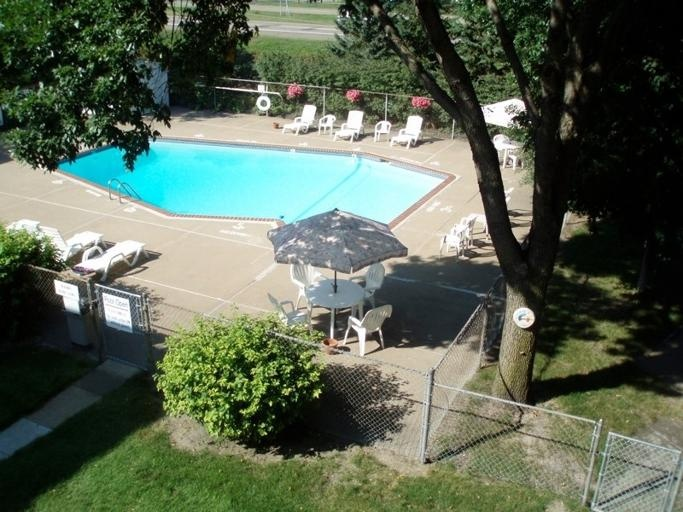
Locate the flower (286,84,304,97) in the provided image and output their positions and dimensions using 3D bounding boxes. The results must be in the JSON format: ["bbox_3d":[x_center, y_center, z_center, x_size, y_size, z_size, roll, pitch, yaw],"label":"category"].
[{"bbox_3d":[-2.437,-8.725,28.352,0.703,0.509,0.725,14,27,36],"label":"flower"}]

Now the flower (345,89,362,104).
[{"bbox_3d":[0.635,-8.174,27.498,0.698,0.608,0.733,-15,32,-11],"label":"flower"}]

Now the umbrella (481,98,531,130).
[{"bbox_3d":[5.171,-4.441,17.123,1.192,0.876,5.790,7,22,15],"label":"umbrella"}]

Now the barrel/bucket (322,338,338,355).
[{"bbox_3d":[-0.225,1.754,10.308,0.294,0.261,0.282,-1,35,1],"label":"barrel/bucket"}]

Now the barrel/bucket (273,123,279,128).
[{"bbox_3d":[-3.440,-6.859,28.105,0.270,0.229,0.288,-4,30,2],"label":"barrel/bucket"}]

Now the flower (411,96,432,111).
[{"bbox_3d":[3.865,-7.389,26.022,0.692,0.504,0.738,6,10,4],"label":"flower"}]

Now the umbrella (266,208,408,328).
[{"bbox_3d":[-0.038,0.484,12.111,2.813,2.677,2.424,24,39,34],"label":"umbrella"}]

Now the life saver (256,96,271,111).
[{"bbox_3d":[-4.255,-8.317,29.360,0.703,0.786,0.168,2,14,28],"label":"life saver"}]
